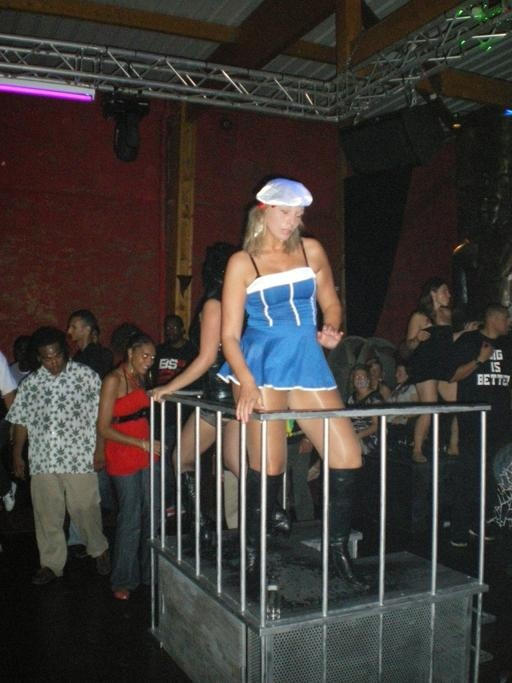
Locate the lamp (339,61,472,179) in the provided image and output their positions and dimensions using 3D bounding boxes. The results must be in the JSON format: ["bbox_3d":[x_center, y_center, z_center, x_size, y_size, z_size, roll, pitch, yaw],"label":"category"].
[{"bbox_3d":[1.174,-1.862,5.661,0.552,0.664,0.894,-2,1,-45],"label":"lamp"}]

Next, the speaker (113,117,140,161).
[{"bbox_3d":[-1.079,-1.674,5.364,0.201,0.335,0.256,-1,1,-12],"label":"speaker"}]
